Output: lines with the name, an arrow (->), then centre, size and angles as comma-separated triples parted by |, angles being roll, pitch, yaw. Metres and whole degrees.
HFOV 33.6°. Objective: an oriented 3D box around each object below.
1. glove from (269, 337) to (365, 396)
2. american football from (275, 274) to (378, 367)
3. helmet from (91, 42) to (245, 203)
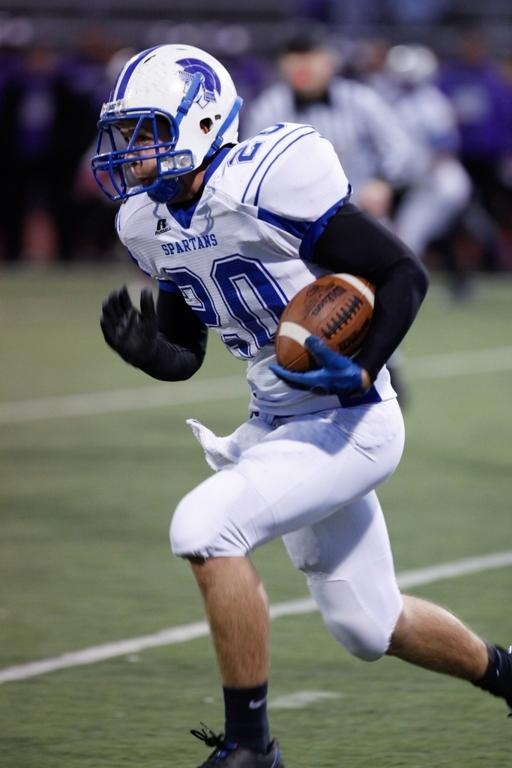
glove -> 0.096, -0.029, 1.395 | 0.152, 0.086, 0.037 | 17, 30, -11
american football -> 0.120, -0.117, 1.518 | 0.121, 0.125, 0.195 | -4, 31, 51
helmet -> -0.191, -0.558, 1.794 | 0.260, 0.266, 0.336 | 8, 21, 40
